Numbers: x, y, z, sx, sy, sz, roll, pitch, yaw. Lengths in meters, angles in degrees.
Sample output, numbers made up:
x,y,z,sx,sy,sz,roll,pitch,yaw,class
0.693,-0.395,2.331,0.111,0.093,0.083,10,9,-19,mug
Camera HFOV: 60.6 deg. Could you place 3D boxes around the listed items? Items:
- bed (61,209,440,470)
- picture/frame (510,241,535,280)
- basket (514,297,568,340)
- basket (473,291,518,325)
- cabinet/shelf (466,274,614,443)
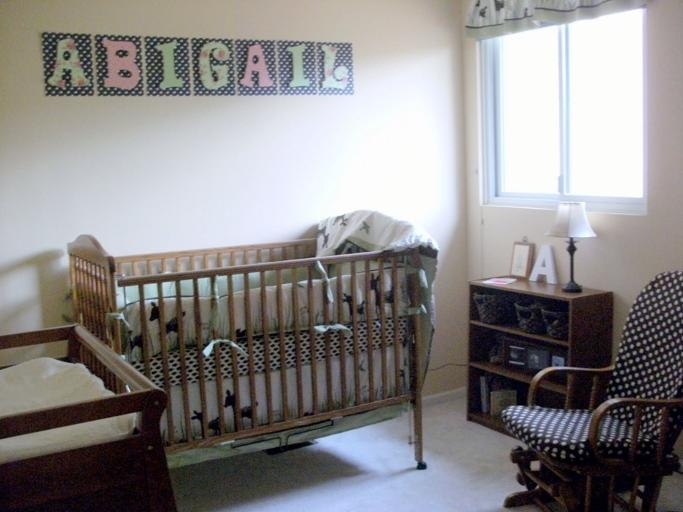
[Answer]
x,y,z,sx,sy,sz,roll,pitch,yaw,class
-0.581,0.413,3.380,1.773,1.347,1.267,-4,8,-29,bed
1.145,0.023,3.759,0.152,0.229,0.017,6,5,-16,picture/frame
1.169,0.369,3.389,0.238,0.115,0.186,7,-4,-33,basket
0.971,0.331,3.696,0.207,0.152,0.177,0,-3,10,basket
1.146,0.564,3.311,0.381,1.054,0.889,-3,6,-37,cabinet/shelf
